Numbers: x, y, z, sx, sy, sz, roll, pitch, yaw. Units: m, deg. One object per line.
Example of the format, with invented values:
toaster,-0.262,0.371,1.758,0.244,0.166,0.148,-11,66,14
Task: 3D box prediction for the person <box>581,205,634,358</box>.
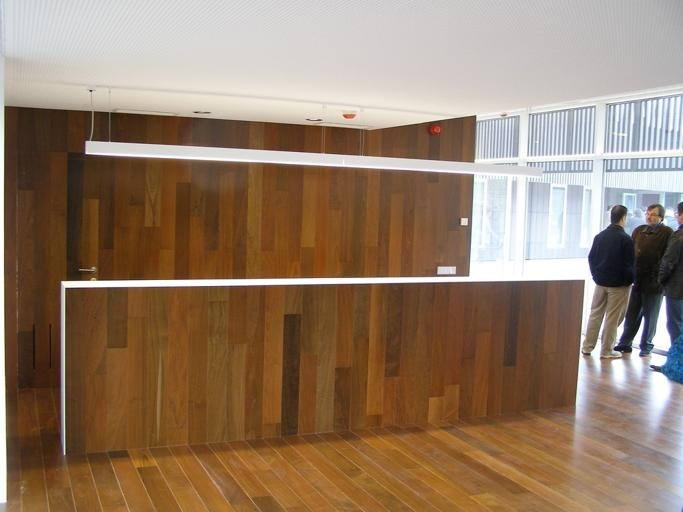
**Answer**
person,3.179,0.329,6.992,0.381,1.800,0.606,-1,9,-17
